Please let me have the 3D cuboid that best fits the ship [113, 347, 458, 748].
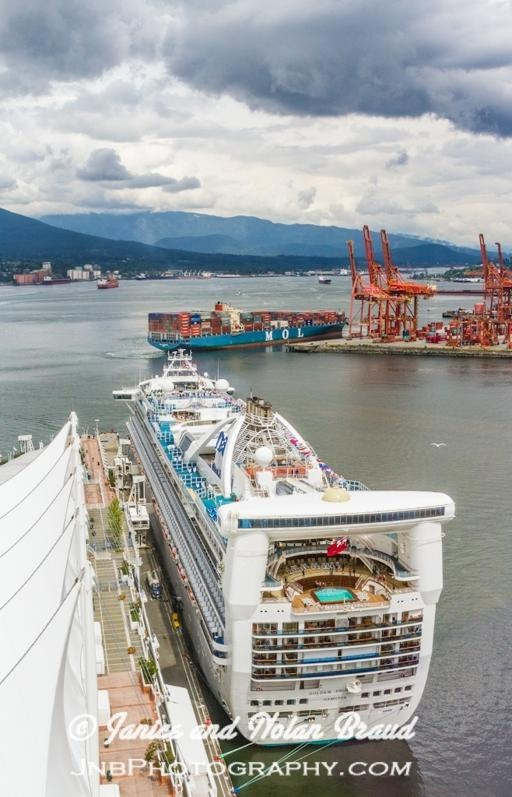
[{"bbox_3d":[0.556,5.431,32.471,7.590,8.214,23.173,-3,7,-13],"label":"ship"}]
